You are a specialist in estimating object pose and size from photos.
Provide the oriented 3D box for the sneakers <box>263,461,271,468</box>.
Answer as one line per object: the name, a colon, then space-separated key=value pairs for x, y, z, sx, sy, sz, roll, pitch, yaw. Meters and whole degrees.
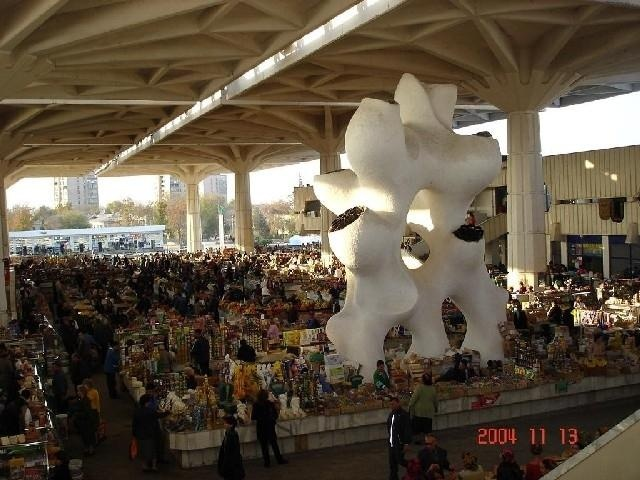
sneakers: x=-1.093 y=4.478 z=11.316 sx=0.112 sy=0.201 sz=0.110 roll=-10 pitch=-11 yaw=37
